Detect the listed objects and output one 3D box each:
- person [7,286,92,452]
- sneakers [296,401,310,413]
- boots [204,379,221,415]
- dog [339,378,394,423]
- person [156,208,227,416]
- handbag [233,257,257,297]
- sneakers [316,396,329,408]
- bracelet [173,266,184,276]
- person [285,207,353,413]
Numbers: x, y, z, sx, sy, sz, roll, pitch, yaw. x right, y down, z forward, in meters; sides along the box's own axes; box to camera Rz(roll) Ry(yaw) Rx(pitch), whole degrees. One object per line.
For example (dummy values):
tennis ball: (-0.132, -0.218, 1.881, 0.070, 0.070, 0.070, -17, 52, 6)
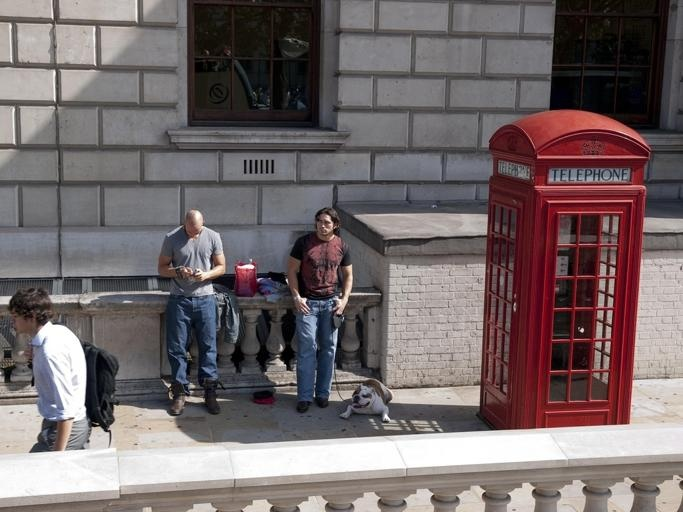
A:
person: (-2.405, 1.023, 9.257, 0.513, 1.457, 0.709, -9, 15, -36)
sneakers: (-0.446, 1.677, 12.200, 0.072, 0.075, 0.172, 3, 12, 0)
boots: (-1.454, 1.558, 12.236, 0.172, 0.358, 0.460, -5, 11, -15)
dog: (0.257, 1.580, 12.248, 0.572, 0.355, 0.598, 1, 13, 2)
person: (-1.661, 0.697, 12.158, 0.705, 2.009, 0.614, -2, 13, -8)
handbag: (-1.148, 0.277, 12.842, 0.246, 0.410, 0.289, -2, 22, -15)
sneakers: (-0.242, 1.649, 12.359, 0.119, 0.104, 0.255, -1, -1, -9)
bracelet: (-1.793, 0.178, 11.989, 0.152, 0.110, 0.050, 10, 16, 39)
person: (-0.248, 0.582, 12.282, 0.723, 2.208, 0.490, -5, 13, -22)
